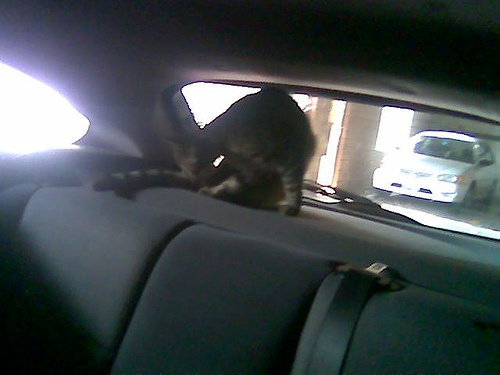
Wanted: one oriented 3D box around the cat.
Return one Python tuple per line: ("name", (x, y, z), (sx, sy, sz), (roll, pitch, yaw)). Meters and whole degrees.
("cat", (-0.123, -0.090, 0.996), (0.593, 0.310, 0.409), (-8, 24, -45))
